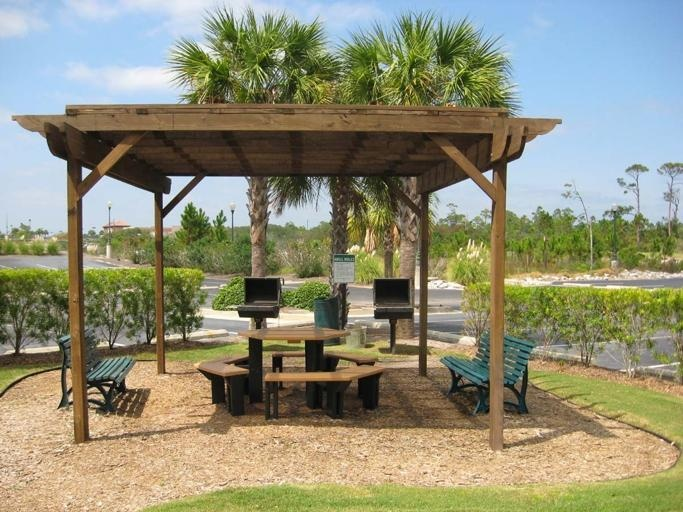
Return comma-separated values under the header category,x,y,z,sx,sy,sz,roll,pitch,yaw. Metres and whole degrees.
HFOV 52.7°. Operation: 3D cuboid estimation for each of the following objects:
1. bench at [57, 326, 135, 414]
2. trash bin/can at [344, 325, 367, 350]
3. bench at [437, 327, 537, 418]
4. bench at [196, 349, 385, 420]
category,x,y,z,sx,sy,sz,roll,pitch,yaw
bench,-4.104,1.848,11.605,0.992,1.160,1.720,-1,1,-8
trash bin/can,0.361,1.867,15.703,0.609,0.752,0.689,0,-3,-1
bench,2.475,2.002,12.009,1.028,1.208,2.382,2,0,-7
bench,-0.772,2.134,11.569,2.896,0.914,1.996,-1,-2,0
